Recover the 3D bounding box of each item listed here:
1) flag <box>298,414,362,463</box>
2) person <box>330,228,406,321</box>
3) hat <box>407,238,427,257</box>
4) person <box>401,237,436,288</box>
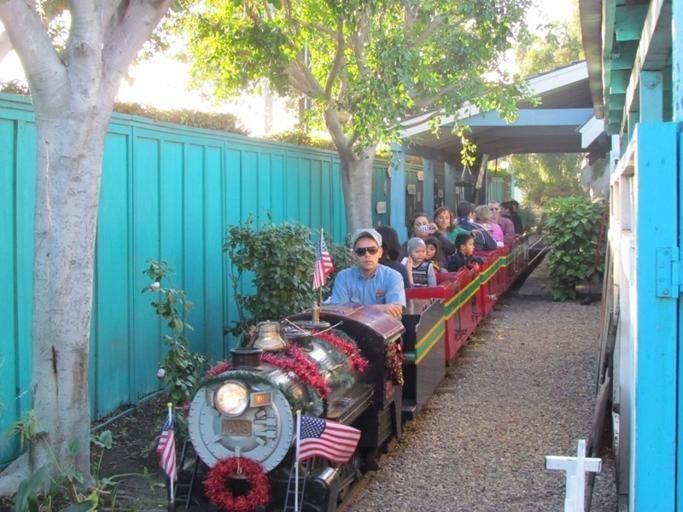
[{"bbox_3d":[-0.097,1.273,3.798,0.578,0.492,0.063,8,-3,-38],"label":"flag"},{"bbox_3d":[0.194,0.143,6.047,0.879,1.358,0.879,1,-1,12],"label":"person"},{"bbox_3d":[1.162,-0.143,8.377,0.247,0.259,0.221,0,6,41],"label":"hat"},{"bbox_3d":[1.167,0.205,8.208,0.490,0.949,0.480,-4,12,-7],"label":"person"}]
